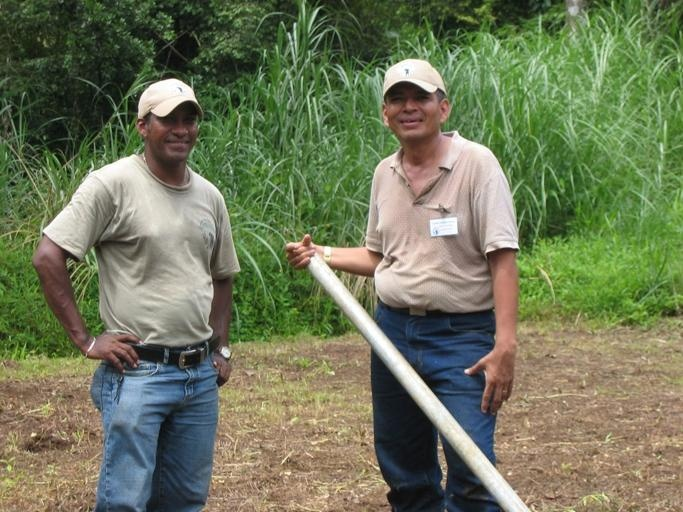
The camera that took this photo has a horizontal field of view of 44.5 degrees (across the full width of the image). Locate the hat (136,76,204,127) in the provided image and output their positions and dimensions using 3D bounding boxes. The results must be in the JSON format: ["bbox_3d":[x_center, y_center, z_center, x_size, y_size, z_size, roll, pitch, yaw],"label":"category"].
[{"bbox_3d":[-1.131,-1.021,5.571,0.504,0.286,0.380,-10,-3,43],"label":"hat"}]

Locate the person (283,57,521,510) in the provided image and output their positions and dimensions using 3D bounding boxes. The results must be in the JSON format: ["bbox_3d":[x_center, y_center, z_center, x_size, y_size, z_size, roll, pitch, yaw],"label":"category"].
[{"bbox_3d":[0.585,0.269,5.619,0.594,3.131,1.262,-8,8,-44],"label":"person"}]

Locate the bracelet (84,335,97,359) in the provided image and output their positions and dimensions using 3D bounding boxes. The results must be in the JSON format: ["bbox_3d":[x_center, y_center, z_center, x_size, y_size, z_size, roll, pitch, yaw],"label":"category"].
[{"bbox_3d":[-1.577,0.583,5.266,0.027,0.114,0.083,18,-6,-3],"label":"bracelet"}]

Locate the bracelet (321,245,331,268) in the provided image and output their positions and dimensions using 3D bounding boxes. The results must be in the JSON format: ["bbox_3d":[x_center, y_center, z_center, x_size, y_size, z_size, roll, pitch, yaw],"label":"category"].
[{"bbox_3d":[-0.112,-0.006,6.057,0.036,0.113,0.076,0,-1,21],"label":"bracelet"}]

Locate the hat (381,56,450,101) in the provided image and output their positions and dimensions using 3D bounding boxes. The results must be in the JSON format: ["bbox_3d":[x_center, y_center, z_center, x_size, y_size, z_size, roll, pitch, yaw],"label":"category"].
[{"bbox_3d":[0.454,-1.144,5.569,0.351,0.265,0.520,-7,-4,7],"label":"hat"}]
